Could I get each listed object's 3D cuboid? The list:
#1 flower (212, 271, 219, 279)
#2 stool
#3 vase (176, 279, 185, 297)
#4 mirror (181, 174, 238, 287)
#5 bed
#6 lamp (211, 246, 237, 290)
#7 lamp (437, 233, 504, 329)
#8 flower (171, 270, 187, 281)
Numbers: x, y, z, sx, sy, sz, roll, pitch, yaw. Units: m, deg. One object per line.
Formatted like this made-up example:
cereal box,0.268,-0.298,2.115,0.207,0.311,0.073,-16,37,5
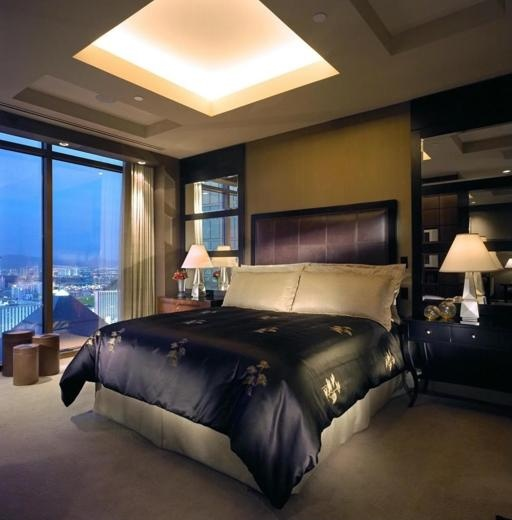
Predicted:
flower,-0.504,0.186,5.126,0.060,0.028,0.085,10,42,-8
stool,-2.121,0.880,3.804,0.402,0.354,0.430,3,0,33
vase,-0.949,0.364,5.140,0.154,0.216,0.178,1,0,9
mirror,-0.576,-0.374,5.322,0.885,0.035,1.410,-9,-42,-9
bed,0.124,0.562,2.868,1.452,1.006,1.490,-1,-1,41
lamp,-0.419,0.090,5.127,0.315,0.550,0.312,0,6,-18
lamp,1.591,0.125,3.057,0.363,0.639,0.580,2,3,38
flower,-0.948,0.198,5.098,0.152,0.121,0.170,1,-9,4
